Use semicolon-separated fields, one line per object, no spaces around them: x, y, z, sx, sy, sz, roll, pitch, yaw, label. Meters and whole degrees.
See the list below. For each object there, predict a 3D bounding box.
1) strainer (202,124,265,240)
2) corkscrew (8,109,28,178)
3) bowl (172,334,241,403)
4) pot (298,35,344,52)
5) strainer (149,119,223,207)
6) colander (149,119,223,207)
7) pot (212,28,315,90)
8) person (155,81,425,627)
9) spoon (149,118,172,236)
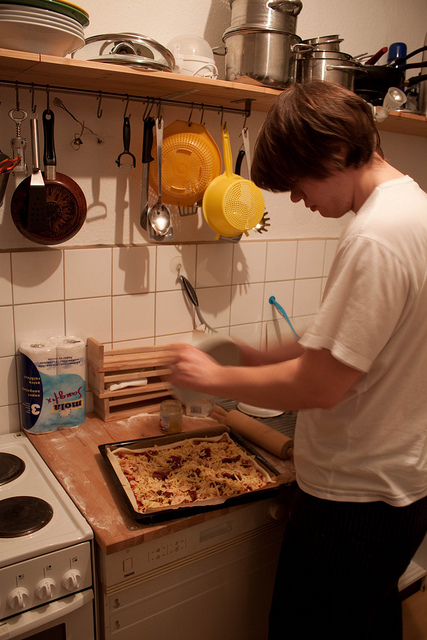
0.077;-0.391;1.424;0.088;0.315;0.177;23;66;19;strainer
-0.462;-0.425;1.189;0.046;0.159;0.109;-6;17;-19;corkscrew
-0.021;0.132;1.584;0.174;0.223;0.168;-1;2;0;bowl
0.315;-0.795;1.440;0.121;0.043;0.110;-16;29;-28;pot
-0.090;-0.442;1.429;0.194;0.239;0.127;-11;23;-36;strainer
-0.077;-0.436;1.414;0.230;0.224;0.046;-6;16;-20;colander
0.144;-0.695;1.333;0.238;0.137;0.119;1;16;1;pot
0.176;0.166;0.956;0.431;1.156;0.258;11;19;34;person
-0.153;-0.394;1.368;0.073;0.293;0.086;-4;20;-20;spoon
